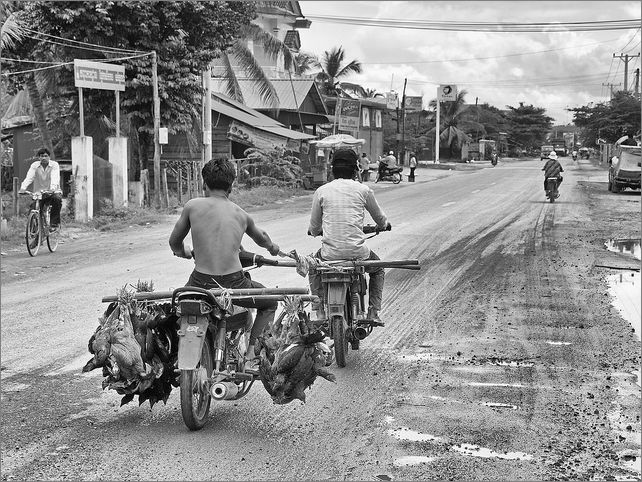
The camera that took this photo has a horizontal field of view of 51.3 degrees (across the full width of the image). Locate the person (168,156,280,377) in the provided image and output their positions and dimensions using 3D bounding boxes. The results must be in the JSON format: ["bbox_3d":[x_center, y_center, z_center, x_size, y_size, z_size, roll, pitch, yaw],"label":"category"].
[{"bbox_3d":[-0.823,0.232,6.276,1.114,1.950,0.946,0,-1,-31],"label":"person"}]

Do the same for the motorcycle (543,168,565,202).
[{"bbox_3d":[8.571,-2.009,24.573,0.609,0.842,1.268,3,17,24],"label":"motorcycle"}]

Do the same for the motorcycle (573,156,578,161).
[{"bbox_3d":[31.288,-10.182,82.083,0.465,0.618,0.935,2,14,14],"label":"motorcycle"}]

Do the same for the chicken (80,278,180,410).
[{"bbox_3d":[-1.462,0.804,5.615,0.590,1.183,1.024,2,10,3],"label":"chicken"}]

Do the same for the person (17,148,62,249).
[{"bbox_3d":[-5.746,-0.824,13.754,0.613,2.010,1.177,0,0,-3],"label":"person"}]

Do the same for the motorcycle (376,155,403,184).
[{"bbox_3d":[3.995,-4.295,39.972,1.960,1.409,1.155,12,7,23],"label":"motorcycle"}]

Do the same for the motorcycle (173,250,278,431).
[{"bbox_3d":[-0.862,0.806,6.227,1.024,1.525,2.208,2,2,6],"label":"motorcycle"}]

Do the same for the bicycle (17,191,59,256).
[{"bbox_3d":[-5.841,-0.369,14.036,0.795,1.224,1.932,1,1,-4],"label":"bicycle"}]

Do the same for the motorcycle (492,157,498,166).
[{"bbox_3d":[18.523,-8.480,71.031,0.877,0.998,0.684,1,1,16],"label":"motorcycle"}]

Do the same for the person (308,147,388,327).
[{"bbox_3d":[0.251,-0.142,7.517,0.822,2.012,1.272,2,10,-1],"label":"person"}]
